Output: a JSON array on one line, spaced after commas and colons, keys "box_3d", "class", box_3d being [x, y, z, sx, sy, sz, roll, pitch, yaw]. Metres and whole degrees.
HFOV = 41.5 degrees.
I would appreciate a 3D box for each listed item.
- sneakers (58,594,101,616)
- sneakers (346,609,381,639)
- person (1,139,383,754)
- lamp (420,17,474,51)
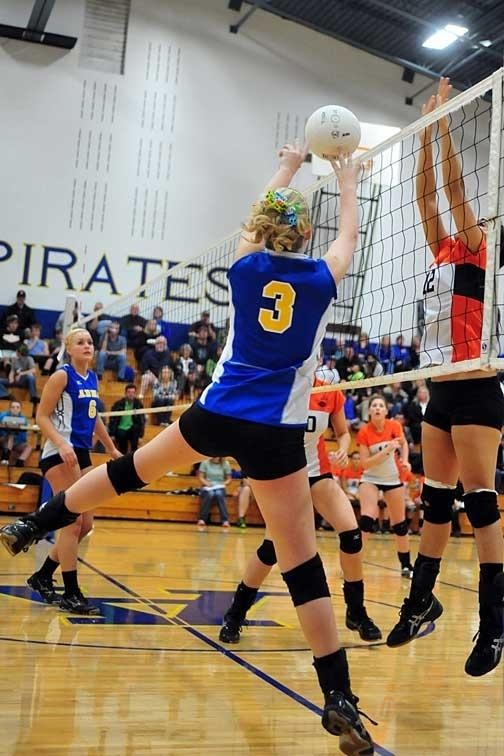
[{"box_3d": [-0.920, 1.208, 3.590, 0.237, 0.093, 0.092, -2, -12, 36], "class": "sneakers"}, {"box_3d": [0.561, 1.259, 3.391, 0.095, 0.115, 0.256, -5, -4, -18], "class": "sneakers"}, {"box_3d": [-0.043, 0.181, 2.007, 1.102, 1.196, 0.392, 8, 4, 28], "class": "person"}, {"box_3d": [3.956, -6.964, 13.443, 0.411, 0.139, 0.592, 1, -5, -38], "class": "lamp"}]
